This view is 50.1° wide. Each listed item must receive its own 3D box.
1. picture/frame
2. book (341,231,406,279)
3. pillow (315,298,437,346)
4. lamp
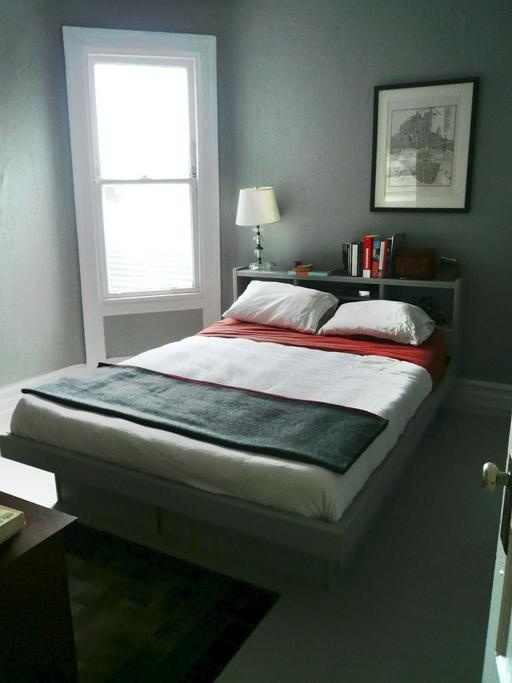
[{"bbox_3d":[1.099,-1.290,3.504,0.881,1.041,0.038,5,11,30],"label":"picture/frame"},{"bbox_3d":[0.740,-0.594,3.704,0.406,0.296,0.390,-2,12,-13],"label":"book"},{"bbox_3d":[0.719,-0.126,3.220,0.416,0.118,0.388,5,27,29],"label":"pillow"},{"bbox_3d":[0.020,-0.849,4.076,0.308,0.617,0.417,1,12,2],"label":"lamp"}]
